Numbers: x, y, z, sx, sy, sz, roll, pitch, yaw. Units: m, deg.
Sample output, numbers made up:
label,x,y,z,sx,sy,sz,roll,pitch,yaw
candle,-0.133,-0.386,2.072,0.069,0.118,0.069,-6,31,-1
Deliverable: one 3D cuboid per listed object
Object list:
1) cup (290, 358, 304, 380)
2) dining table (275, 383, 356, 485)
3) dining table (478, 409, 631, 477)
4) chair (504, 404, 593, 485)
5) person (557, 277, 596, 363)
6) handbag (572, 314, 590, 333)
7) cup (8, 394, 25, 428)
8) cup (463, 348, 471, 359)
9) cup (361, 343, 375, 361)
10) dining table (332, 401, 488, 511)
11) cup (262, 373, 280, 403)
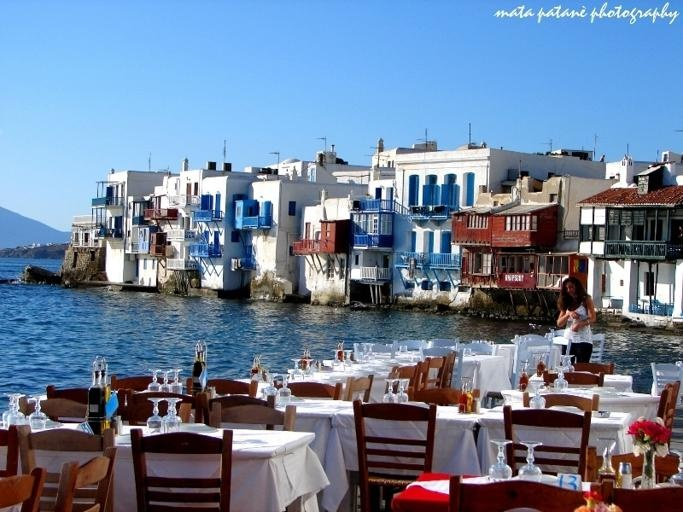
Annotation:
label,x,y,z,sx,sy,sz,roll,pitch,yaw
cup,-0.585,1.478,13.107,0.175,0.267,0.205,-1,3,-7
dining table,-0.174,1.895,9.894,0.684,0.404,0.734,0,1,13
dining table,1.954,1.596,9.203,0.862,0.483,0.908,-1,-2,22
chair,1.866,1.653,9.055,0.635,1.118,0.743,1,6,16
person,3.539,0.939,15.059,0.518,1.042,0.338,2,-1,14
handbag,3.586,1.004,14.971,0.178,0.117,0.248,1,-13,-21
cup,-2.810,1.322,8.632,0.144,0.268,0.428,2,0,-18
cup,2.173,1.647,17.216,0.146,0.220,0.153,0,13,0
cup,0.448,1.569,16.712,0.164,0.234,0.163,1,2,0
dining table,0.886,1.799,9.604,1.164,0.785,1.223,-1,-1,22
cup,-0.729,1.405,10.471,0.171,0.439,0.177,1,0,0
